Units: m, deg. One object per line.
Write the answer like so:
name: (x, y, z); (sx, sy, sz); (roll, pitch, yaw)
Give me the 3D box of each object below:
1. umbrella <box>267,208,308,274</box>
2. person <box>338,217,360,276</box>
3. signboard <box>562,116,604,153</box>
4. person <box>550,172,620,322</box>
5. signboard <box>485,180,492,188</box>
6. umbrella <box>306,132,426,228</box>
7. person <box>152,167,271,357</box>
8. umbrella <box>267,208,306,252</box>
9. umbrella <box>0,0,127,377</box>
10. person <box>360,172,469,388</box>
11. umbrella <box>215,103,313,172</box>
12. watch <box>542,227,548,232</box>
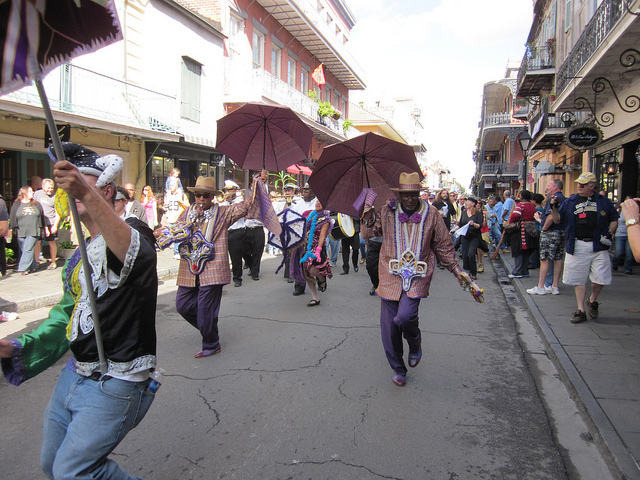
umbrella: (-0.858, -0.204, 8.531); (0.762, 1.020, 0.672); (0, 14, -35)
person: (0.741, 0.185, 10.459); (0.610, 0.717, 2.229); (-18, 4, 5)
signboard: (7.068, -2.859, 11.082); (1.012, 1.124, 0.080); (12, 51, 42)
person: (4.307, 0.111, 6.583); (0.684, 2.339, 0.685); (3, 6, 28)
signboard: (20.557, -6.710, 50.432); (0.821, 0.592, 1.392); (3, 6, 20)
umbrella: (0.526, -0.890, 5.295); (1.191, 1.343, 0.875); (-2, 22, 17)
person: (-1.507, 0.282, 5.600); (1.245, 2.339, 0.982); (2, 5, 11)
umbrella: (-0.618, -0.201, 8.227); (0.729, 0.804, 0.333); (-27, -8, 16)
umbrella: (-1.387, -0.276, 2.312); (0.688, 2.014, 0.558); (5, 7, 44)
person: (1.062, 0.380, 4.911); (1.151, 2.381, 1.091); (2, 6, 19)
umbrella: (-0.972, -1.806, 7.176); (1.361, 1.487, 0.772); (1, 42, 0)
watch: (4.481, -0.216, 8.241); (0.019, 0.083, 0.085); (-8, 41, -13)
